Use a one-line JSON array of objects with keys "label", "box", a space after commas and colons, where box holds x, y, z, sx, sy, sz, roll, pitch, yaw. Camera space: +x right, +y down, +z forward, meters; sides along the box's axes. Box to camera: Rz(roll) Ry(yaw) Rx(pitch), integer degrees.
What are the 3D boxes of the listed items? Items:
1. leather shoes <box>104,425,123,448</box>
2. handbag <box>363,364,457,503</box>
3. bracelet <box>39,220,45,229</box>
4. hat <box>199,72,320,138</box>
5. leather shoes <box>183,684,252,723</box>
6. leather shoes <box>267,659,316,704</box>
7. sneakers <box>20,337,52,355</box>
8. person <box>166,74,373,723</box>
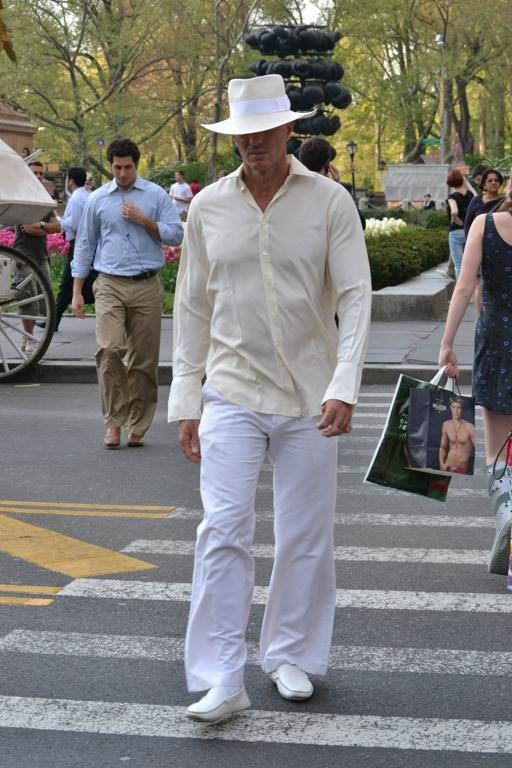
[{"label": "leather shoes", "box": [-1.001, 0.375, 7.576, 0.068, 0.082, 0.197, 1, 13, -3]}, {"label": "handbag", "box": [0.521, 0.208, 3.794, 0.148, 0.472, 0.430, 9, 14, 40]}, {"label": "bracelet", "box": [-2.224, -1.668, 11.359, 0.055, 0.069, 0.079, 5, -2, -4]}, {"label": "hat", "box": [0.005, -0.779, 3.049, 0.205, 0.169, 0.219, -1, 10, -3]}, {"label": "leather shoes", "box": [-0.095, 0.879, 3.048, 0.081, 0.083, 0.207, 5, 6, 44]}, {"label": "leather shoes", "box": [0.110, 0.887, 3.216, 0.073, 0.054, 0.136, -4, 11, -20]}, {"label": "sneakers", "box": [-2.211, -0.382, 10.833, 0.180, 0.207, 0.515, -5, 0, -27]}, {"label": "person", "box": [0.038, 0.047, 3.112, 0.570, 1.826, 0.591, -1, 11, -5]}]
